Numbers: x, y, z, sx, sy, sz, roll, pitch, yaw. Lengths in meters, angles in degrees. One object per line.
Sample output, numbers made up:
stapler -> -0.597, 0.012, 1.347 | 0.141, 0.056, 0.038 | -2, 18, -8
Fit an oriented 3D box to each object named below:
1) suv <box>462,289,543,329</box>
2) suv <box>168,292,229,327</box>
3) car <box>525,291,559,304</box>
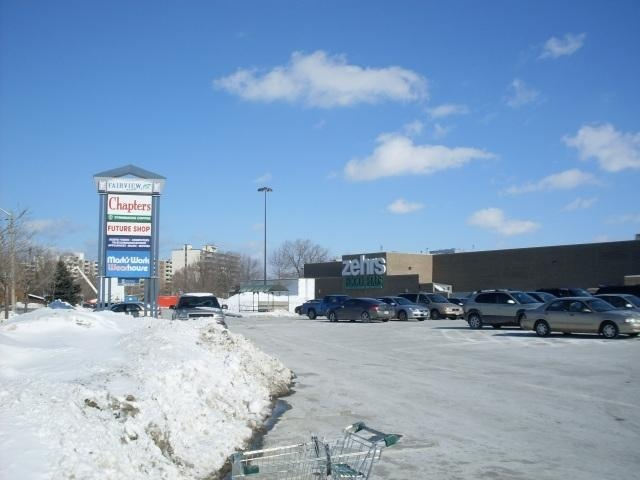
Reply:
suv -> 8.196, 3.152, 24.961 | 2.905, 1.299, 1.648 | -11, -11, 42
suv -> -4.111, 2.261, 18.294 | 1.164, 0.960, 1.878 | 2, -15, -13
car -> 10.978, 2.862, 27.015 | 2.011, 0.671, 0.927 | -2, 2, -30
